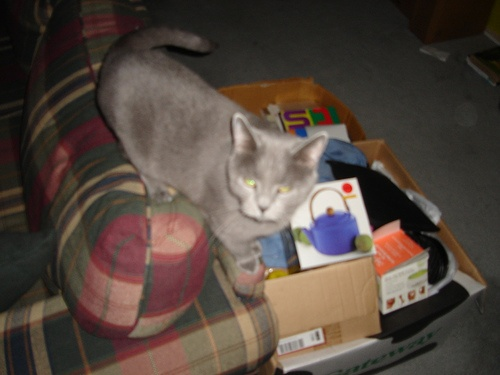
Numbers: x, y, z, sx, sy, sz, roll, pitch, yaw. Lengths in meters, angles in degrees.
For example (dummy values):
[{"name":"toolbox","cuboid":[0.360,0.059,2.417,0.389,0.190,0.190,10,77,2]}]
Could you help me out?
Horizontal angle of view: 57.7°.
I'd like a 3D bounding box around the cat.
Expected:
[{"name":"cat","cuboid":[-0.186,-0.187,1.934,1.070,0.604,0.699,46,61,-14]}]
